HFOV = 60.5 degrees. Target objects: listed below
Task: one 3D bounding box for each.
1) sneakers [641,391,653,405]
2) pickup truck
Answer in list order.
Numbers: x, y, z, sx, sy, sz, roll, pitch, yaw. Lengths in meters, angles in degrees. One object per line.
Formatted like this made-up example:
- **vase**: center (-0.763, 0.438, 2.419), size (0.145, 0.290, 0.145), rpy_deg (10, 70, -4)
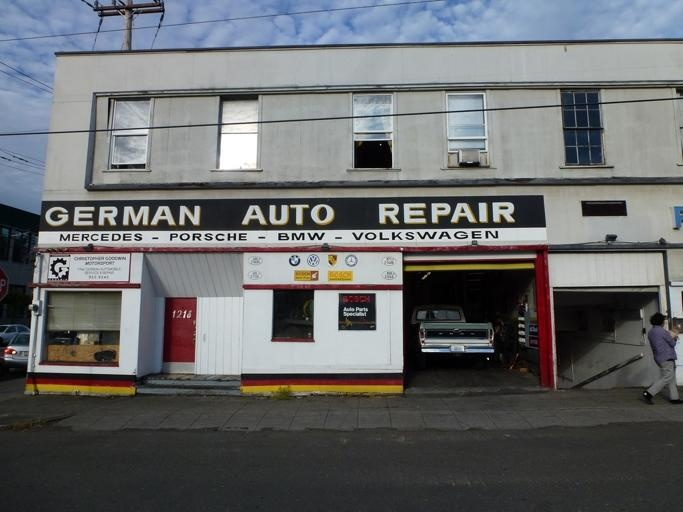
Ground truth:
- **sneakers**: center (7.195, 3.379, 13.780), size (0.199, 0.486, 0.162), rpy_deg (-4, 23, 3)
- **pickup truck**: center (3.605, 2.594, 18.534), size (2.689, 1.890, 4.351), rpy_deg (-1, 2, 0)
